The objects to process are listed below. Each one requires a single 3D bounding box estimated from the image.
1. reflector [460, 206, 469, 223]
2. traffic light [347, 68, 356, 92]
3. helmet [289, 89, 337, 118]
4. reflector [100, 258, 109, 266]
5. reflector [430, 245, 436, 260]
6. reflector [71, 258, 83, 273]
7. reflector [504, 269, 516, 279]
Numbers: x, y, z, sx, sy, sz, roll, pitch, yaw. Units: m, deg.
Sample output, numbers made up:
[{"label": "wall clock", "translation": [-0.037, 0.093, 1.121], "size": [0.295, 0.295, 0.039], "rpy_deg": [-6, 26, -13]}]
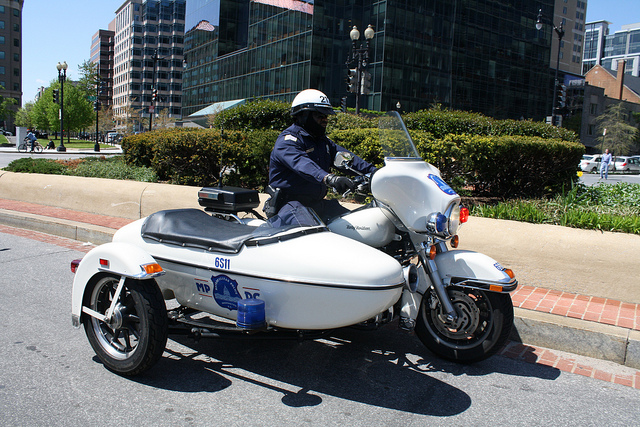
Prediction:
[{"label": "reflector", "translation": [1.666, 0.013, 5.925], "size": [0.111, 0.168, 0.053], "rpy_deg": [3, 5, -34]}, {"label": "traffic light", "translation": [1.288, -5.426, 20.748], "size": [0.317, 0.918, 0.827], "rpy_deg": [3, 6, 2]}, {"label": "helmet", "translation": [-0.080, -1.458, 6.667], "size": [0.658, 0.380, 0.515], "rpy_deg": [7, 16, 36]}, {"label": "reflector", "translation": [-2.428, 0.541, 5.745], "size": [0.080, 0.085, 0.020], "rpy_deg": [9, 5, 14]}, {"label": "reflector", "translation": [1.329, 0.449, 6.009], "size": [0.028, 0.124, 0.124], "rpy_deg": [6, 7, 9]}, {"label": "reflector", "translation": [-2.969, 0.618, 6.195], "size": [0.057, 0.176, 0.115], "rpy_deg": [5, -2, 40]}, {"label": "reflector", "translation": [2.233, 0.719, 6.023], "size": [0.093, 0.037, 0.132], "rpy_deg": [-9, 41, -35]}]
